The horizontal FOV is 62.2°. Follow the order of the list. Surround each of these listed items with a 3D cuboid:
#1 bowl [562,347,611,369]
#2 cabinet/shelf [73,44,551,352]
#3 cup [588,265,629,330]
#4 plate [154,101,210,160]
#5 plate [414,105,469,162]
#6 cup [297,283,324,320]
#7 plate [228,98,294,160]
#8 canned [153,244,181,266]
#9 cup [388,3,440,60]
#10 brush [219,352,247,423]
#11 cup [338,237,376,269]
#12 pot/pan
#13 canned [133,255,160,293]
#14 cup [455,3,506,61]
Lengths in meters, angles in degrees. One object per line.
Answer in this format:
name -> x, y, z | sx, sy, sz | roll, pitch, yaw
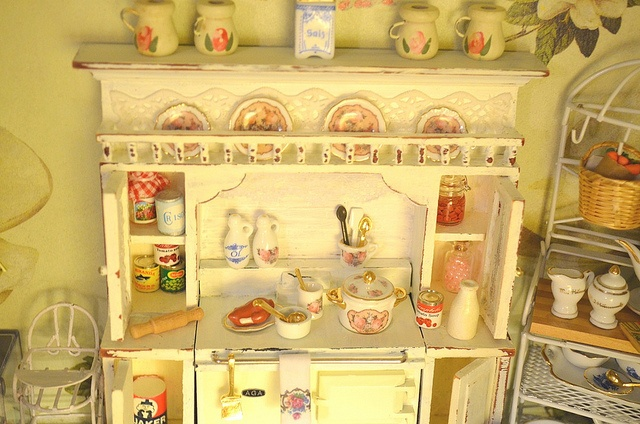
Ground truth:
bowl -> 1.382, 0.760, 2.737 | 0.163, 0.071, 0.157 | 0, 21, 0
cabinet/shelf -> -0.014, -0.304, 2.896 | 2.316, 0.719, 2.066 | 2, 55, 14
cup -> 1.428, 0.417, 2.629 | 0.194, 0.312, 0.160 | -3, 3, 5
plate -> -0.640, -0.381, 2.453 | 0.255, 0.263, 0.169 | -3, 3, -9
plate -> 0.585, -0.398, 2.656 | 0.264, 0.250, 0.060 | -2, 6, 0
cup -> -0.036, 0.444, 2.753 | 0.170, 0.170, 0.150 | 2, 28, 2
plate -> -0.275, -0.393, 2.487 | 0.303, 0.298, 0.155 | -3, 3, -8
canned -> -0.797, 0.219, 2.759 | 0.121, 0.089, 0.116 | -10, 30, -24
cup -> 0.399, -0.869, 2.540 | 0.286, 0.243, 0.220 | -2, 31, 1
brush -> -0.438, 0.865, 2.601 | 0.101, 0.401, 0.248 | -3, 3, -9
cup -> 0.199, 0.226, 2.831 | 0.176, 0.113, 0.142 | -2, 23, -3
pot/pan -> 0.223, 0.445, 2.596 | 0.467, 0.313, 0.284 | -1, 33, 0
canned -> -0.881, 0.334, 2.857 | 0.173, 0.183, 0.166 | 4, 35, -3
cup -> 0.760, -0.862, 2.520 | 0.232, 0.283, 0.179 | -2, 3, 23
